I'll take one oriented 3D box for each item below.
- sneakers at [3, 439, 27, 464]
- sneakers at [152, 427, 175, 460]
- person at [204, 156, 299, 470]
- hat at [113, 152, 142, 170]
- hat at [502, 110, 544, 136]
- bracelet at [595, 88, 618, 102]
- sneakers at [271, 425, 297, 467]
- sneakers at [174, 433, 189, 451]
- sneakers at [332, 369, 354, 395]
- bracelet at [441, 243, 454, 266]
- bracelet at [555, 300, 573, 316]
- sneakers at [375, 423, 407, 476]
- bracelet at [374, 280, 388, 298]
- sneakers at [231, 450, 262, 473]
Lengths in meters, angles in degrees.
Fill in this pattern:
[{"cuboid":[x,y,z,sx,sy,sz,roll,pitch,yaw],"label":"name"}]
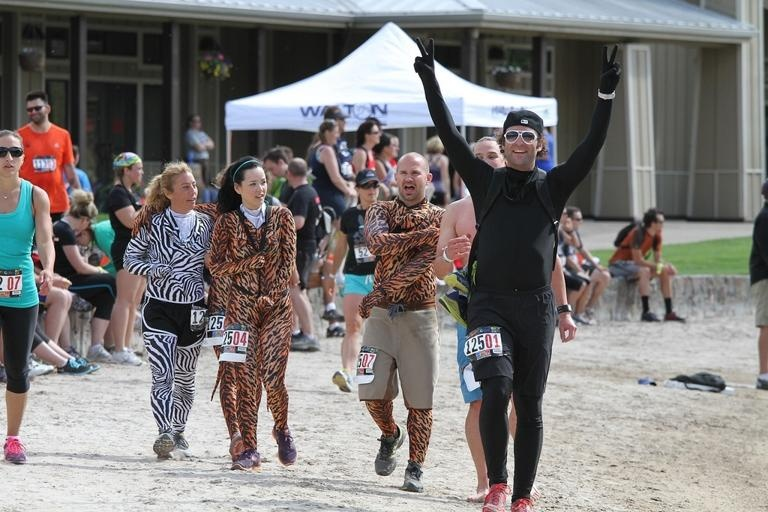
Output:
[{"cuboid":[-3.545,1.832,15.550,0.246,0.241,0.209,1,5,2],"label":"sneakers"},{"cuboid":[-2.145,1.827,15.829,0.140,0.327,0.152,3,27,-5],"label":"sneakers"},{"cuboid":[-1.287,0.539,15.838,0.859,2.950,0.651,0,5,-3],"label":"person"},{"cuboid":[-2.909,-1.071,18.456,0.236,0.149,0.236,-6,7,-28],"label":"hat"},{"cuboid":[1.275,-1.238,14.967,0.254,0.166,0.263,8,6,-4],"label":"hat"},{"cuboid":[2.031,-1.466,15.035,0.141,0.098,0.392,1,5,5],"label":"bracelet"},{"cuboid":[-0.981,1.834,15.848,0.222,0.405,0.277,0,5,-4],"label":"sneakers"},{"cuboid":[-2.013,1.821,16.037,0.128,0.142,0.079,-15,4,31],"label":"sneakers"},{"cuboid":[-0.448,1.384,17.908,0.122,0.320,0.148,-6,42,32],"label":"sneakers"},{"cuboid":[0.572,-0.003,15.217,0.052,0.138,0.118,-15,11,-8],"label":"bracelet"},{"cuboid":[1.667,0.488,15.227,0.140,0.095,0.140,5,-10,-41],"label":"bracelet"},{"cuboid":[0.051,1.902,15.908,0.205,0.573,0.255,15,-1,18],"label":"sneakers"},{"cuboid":[-0.041,0.318,15.681,0.139,0.146,0.040,0,-10,30],"label":"bracelet"},{"cuboid":[-1.330,1.946,15.659,0.125,0.153,0.348,5,-9,26],"label":"sneakers"}]
